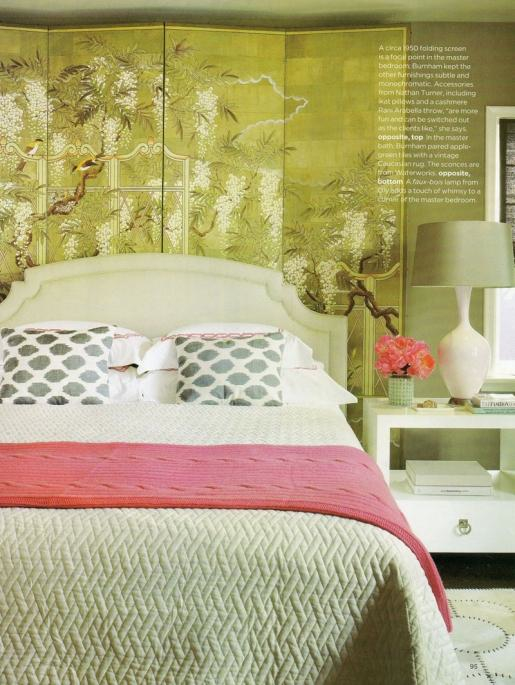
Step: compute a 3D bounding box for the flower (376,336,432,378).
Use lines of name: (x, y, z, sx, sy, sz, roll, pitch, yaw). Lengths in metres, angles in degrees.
flower: (0.591, 0.046, 2.570, 0.194, 0.094, 0.196, 9, 16, 31)

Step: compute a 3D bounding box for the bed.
bed: (-0.152, 0.514, 3.534, 2.175, 1.785, 1.054, 0, -1, -1)

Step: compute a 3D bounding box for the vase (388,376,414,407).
vase: (0.579, 0.208, 2.655, 0.129, 0.110, 0.112, 1, -1, 2)
